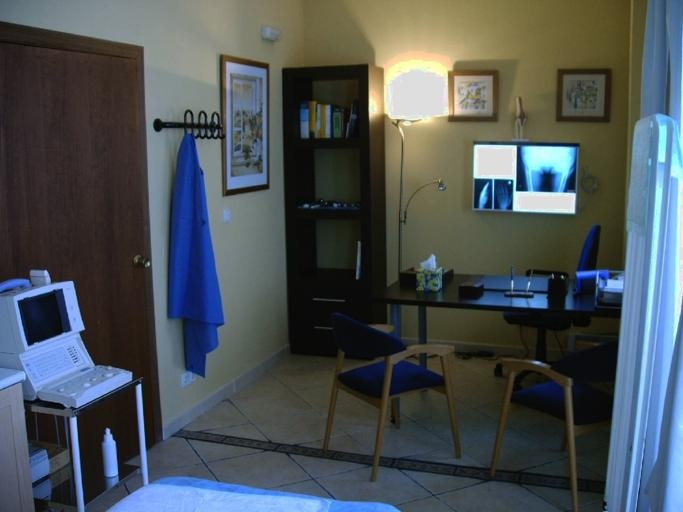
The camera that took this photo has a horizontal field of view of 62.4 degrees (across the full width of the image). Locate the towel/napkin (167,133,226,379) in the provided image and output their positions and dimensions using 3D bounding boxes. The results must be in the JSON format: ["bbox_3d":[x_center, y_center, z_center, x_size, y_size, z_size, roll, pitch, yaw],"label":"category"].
[{"bbox_3d":[-1.055,0.040,4.039,0.375,1.766,0.269,-1,12,0],"label":"towel/napkin"}]

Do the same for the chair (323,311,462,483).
[{"bbox_3d":[0.323,0.864,3.824,0.752,1.022,0.733,-6,7,-36],"label":"chair"}]

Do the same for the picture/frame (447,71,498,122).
[{"bbox_3d":[1.243,-1.482,5.248,0.439,0.471,0.032,1,3,15],"label":"picture/frame"}]

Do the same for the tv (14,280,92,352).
[{"bbox_3d":[-1.552,0.305,2.907,0.220,0.279,0.334,-5,10,35],"label":"tv"}]

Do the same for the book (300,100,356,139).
[{"bbox_3d":[-0.124,-1.242,5.367,0.486,0.383,0.496,0,11,5],"label":"book"}]

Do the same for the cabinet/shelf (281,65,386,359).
[{"bbox_3d":[-0.050,-0.420,5.503,0.888,2.671,0.475,5,13,22],"label":"cabinet/shelf"}]

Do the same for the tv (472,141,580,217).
[{"bbox_3d":[1.741,-0.721,5.184,0.647,0.501,0.025,2,5,12],"label":"tv"}]

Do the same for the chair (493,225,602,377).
[{"bbox_3d":[1.753,0.392,4.835,0.811,1.355,0.761,3,0,13],"label":"chair"}]

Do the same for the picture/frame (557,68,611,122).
[{"bbox_3d":[2.175,-1.428,5.005,0.439,0.478,0.033,2,6,13],"label":"picture/frame"}]
